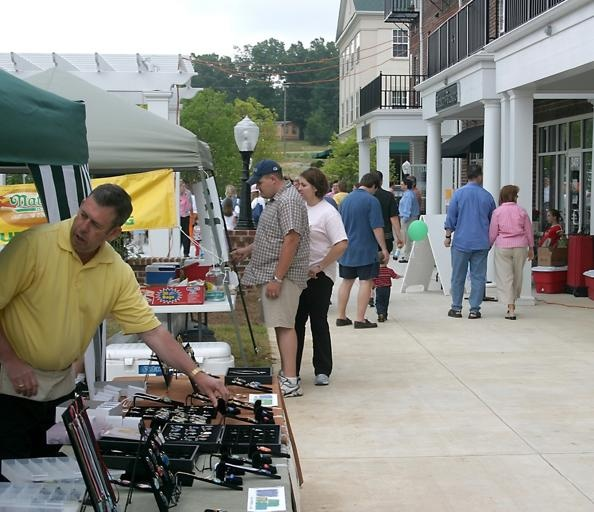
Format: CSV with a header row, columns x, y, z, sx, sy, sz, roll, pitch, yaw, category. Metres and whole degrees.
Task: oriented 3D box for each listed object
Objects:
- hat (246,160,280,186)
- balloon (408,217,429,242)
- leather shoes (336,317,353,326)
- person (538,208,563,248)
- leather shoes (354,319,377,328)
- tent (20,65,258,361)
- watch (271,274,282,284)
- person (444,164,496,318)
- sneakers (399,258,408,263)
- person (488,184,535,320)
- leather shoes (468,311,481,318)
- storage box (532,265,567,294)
x,y,z,sx,sy,sz,roll,pitch,yaw,category
-0.294,-0.761,5.905,0.266,0.218,0.368,0,6,4,hat
2.144,-0.469,11.764,0.327,0.385,0.346,0,5,8,balloon
0.647,0.923,9.375,0.084,0.090,0.236,5,9,37,leather shoes
4.734,-0.534,12.398,0.375,0.670,0.767,2,6,25,person
0.957,0.918,9.186,0.337,0.132,0.122,-1,4,-18,leather shoes
-1.690,-0.233,7.400,2.877,2.810,3.155,0,5,7,tent
-0.183,0.198,5.801,0.092,0.082,0.064,-1,5,-5,watch
2.580,-0.093,9.965,0.690,2.003,0.431,1,5,14,person
2.786,0.100,17.532,0.244,0.165,0.074,4,4,7,sneakers
3.154,0.065,9.783,0.607,1.696,0.374,1,5,15,person
2.663,0.862,9.950,0.196,0.122,0.274,1,6,14,leather shoes
4.656,0.417,12.317,0.582,0.400,0.417,-5,9,-34,storage box
